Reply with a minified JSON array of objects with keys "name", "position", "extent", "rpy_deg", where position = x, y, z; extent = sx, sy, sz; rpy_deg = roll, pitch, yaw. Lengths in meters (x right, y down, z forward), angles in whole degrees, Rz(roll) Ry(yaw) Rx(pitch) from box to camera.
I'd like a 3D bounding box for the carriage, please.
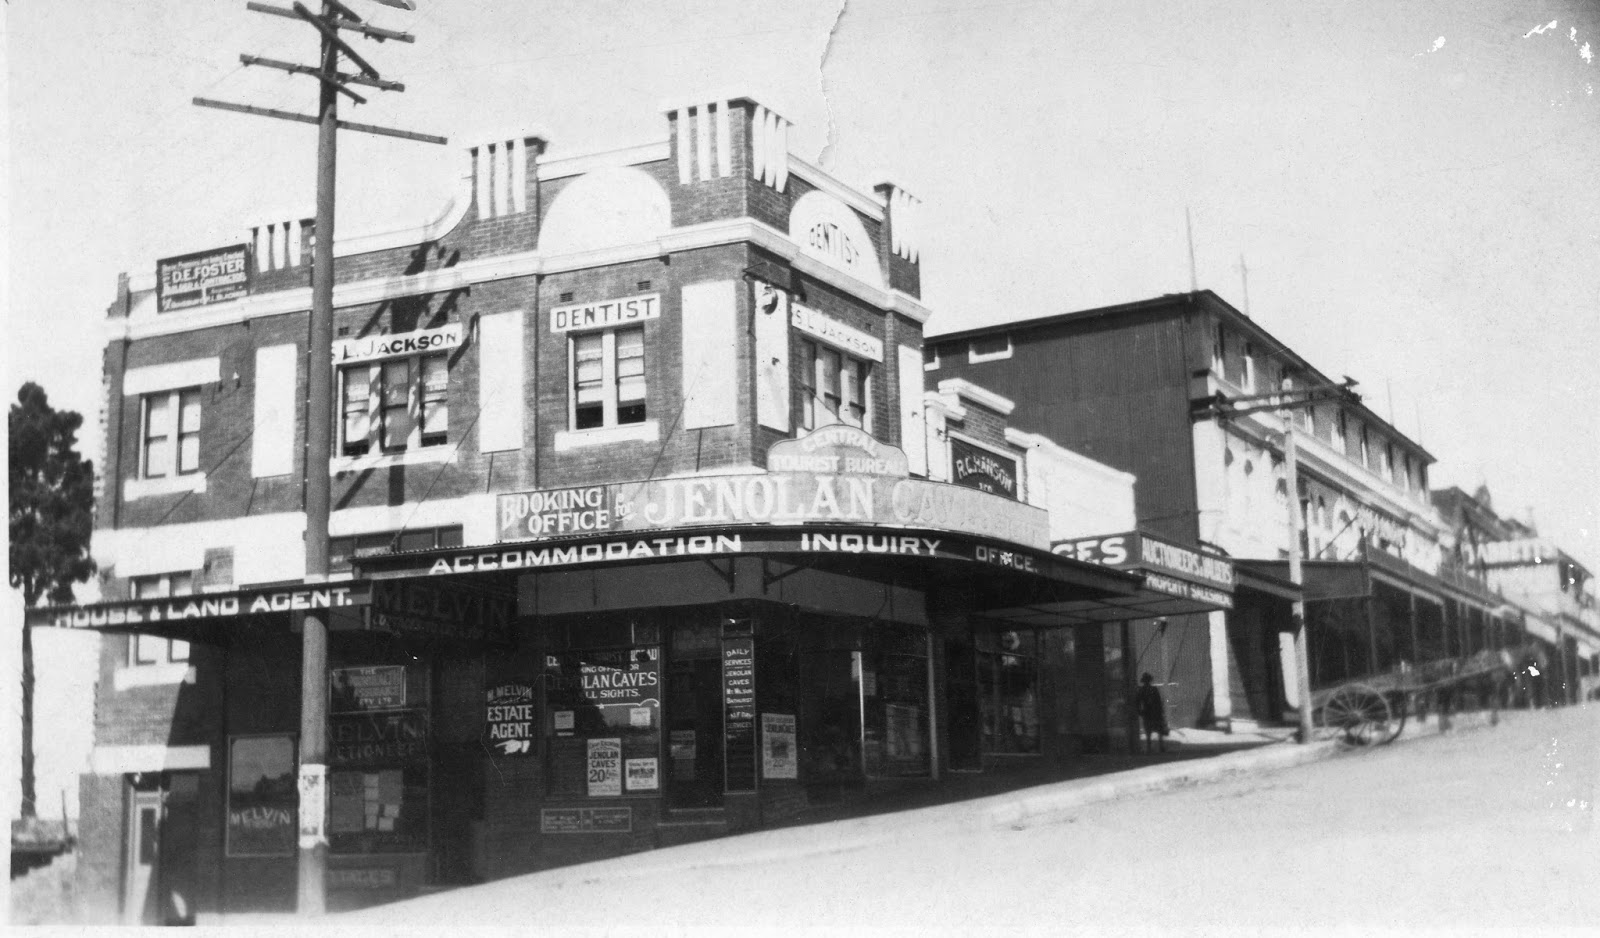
[{"name":"carriage","position":[14.673,5.461,55.824],"extent":[5.590,2.049,1.858],"rpy_deg":[-13,-16,30]}]
